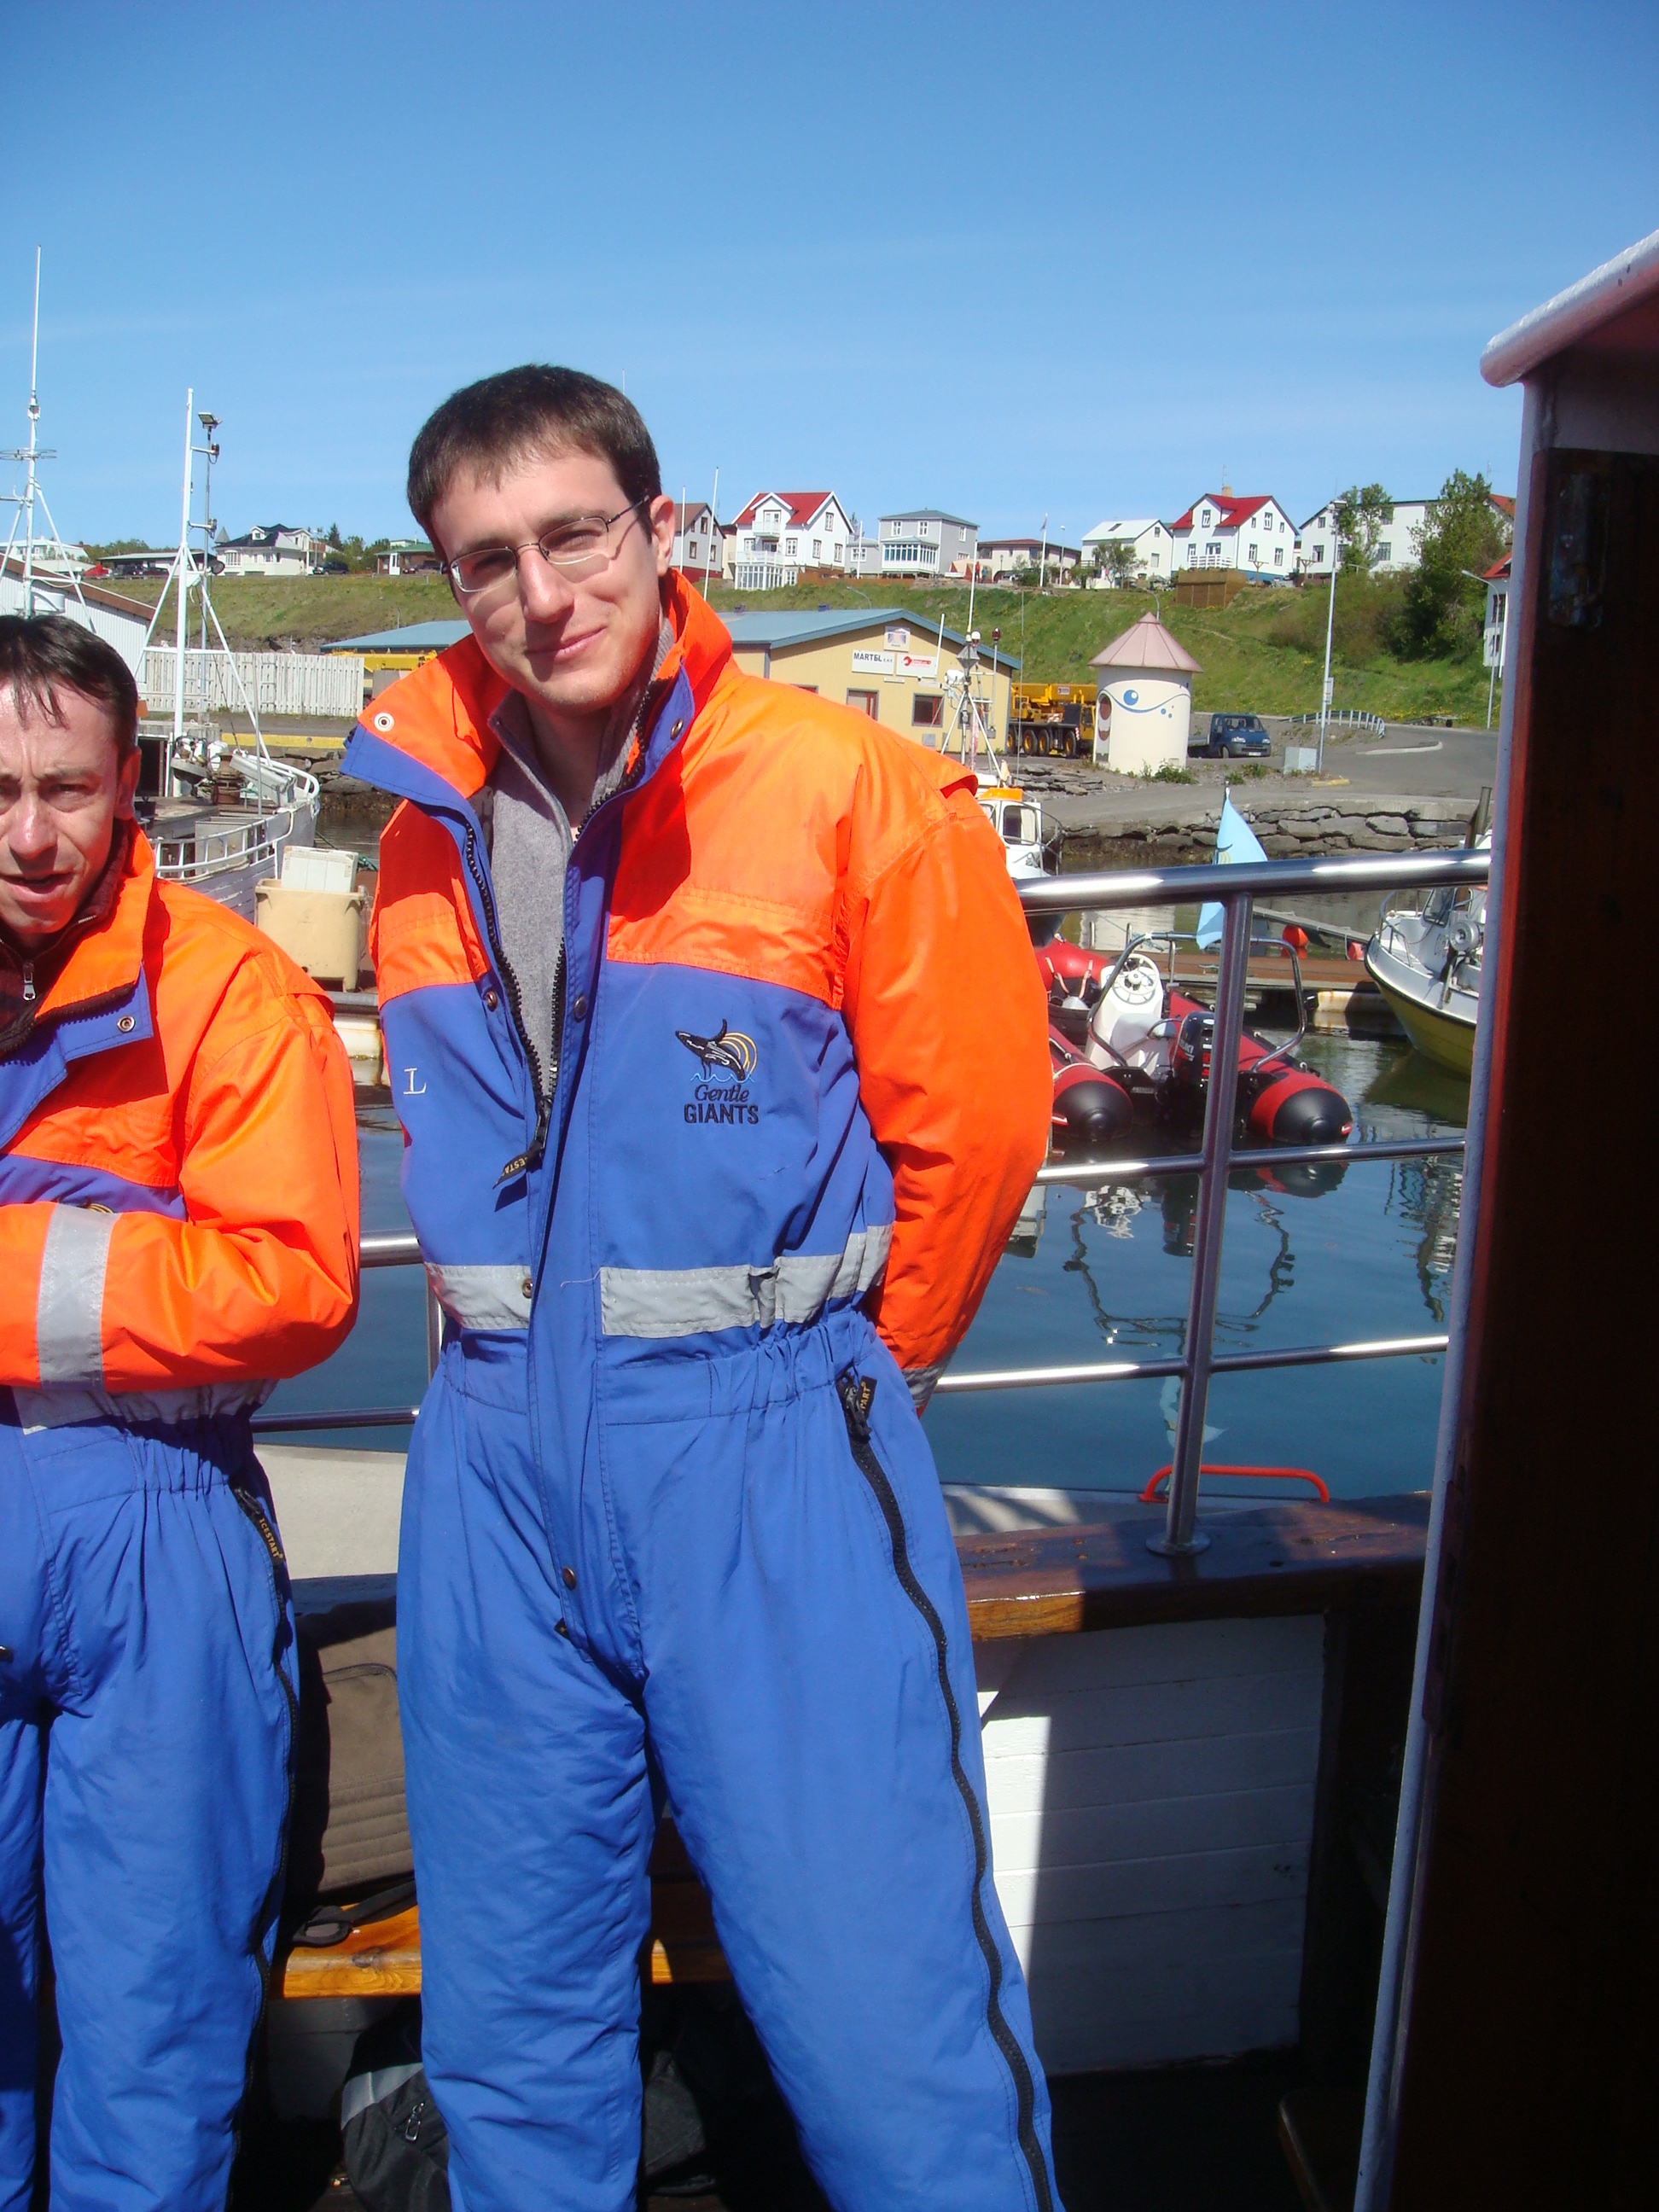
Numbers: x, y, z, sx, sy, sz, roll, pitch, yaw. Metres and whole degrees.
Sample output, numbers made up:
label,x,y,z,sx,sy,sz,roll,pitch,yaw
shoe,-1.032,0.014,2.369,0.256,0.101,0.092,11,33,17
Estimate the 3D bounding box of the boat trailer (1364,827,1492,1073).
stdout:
label,x,y,z,sx,sy,sz,roll,pitch,yaw
boat trailer,6.367,-1.403,20.539,1.223,1.620,3.713,5,25,23
